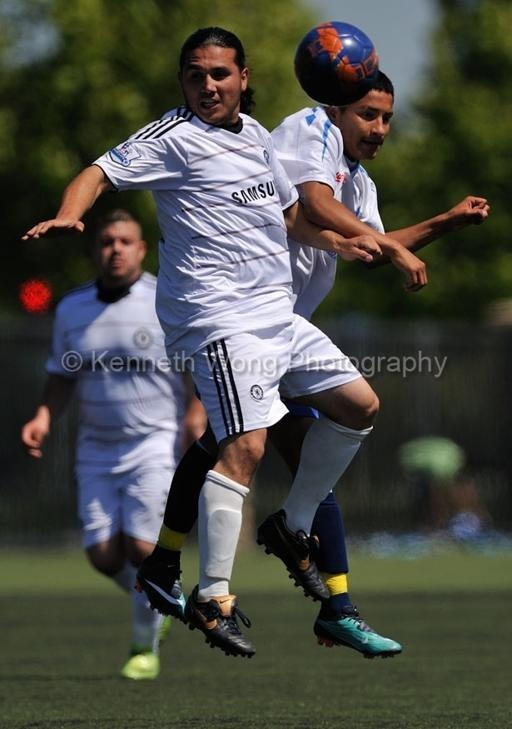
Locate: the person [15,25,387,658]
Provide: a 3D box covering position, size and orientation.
[{"bbox_3d":[-0.043,-0.093,3.017,0.706,1.924,0.925,8,15,30],"label":"person"}]

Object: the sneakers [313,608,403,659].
[{"bbox_3d":[0.369,0.958,3.431,0.360,0.140,0.119,6,-6,38],"label":"sneakers"}]
